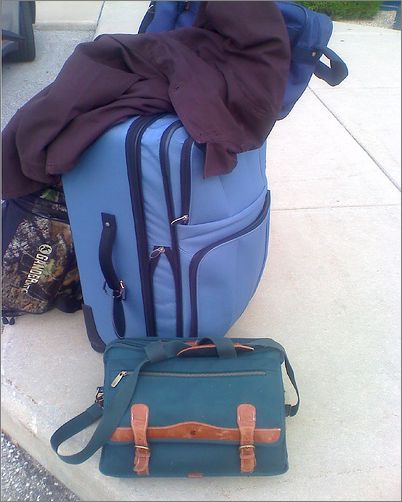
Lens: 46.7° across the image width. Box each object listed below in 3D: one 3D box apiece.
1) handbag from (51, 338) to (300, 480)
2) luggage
[{"bbox_3d":[-0.035,0.362,1.065,0.581,0.263,0.274,-1,80,-5],"label":"handbag"},{"bbox_3d":[-0.069,-0.047,1.226,0.382,0.632,0.489,17,37,28],"label":"luggage"}]
